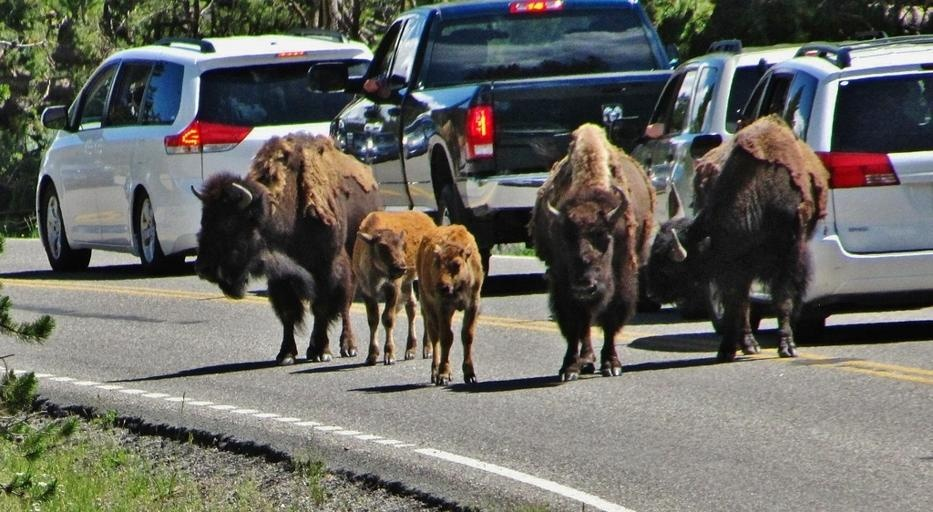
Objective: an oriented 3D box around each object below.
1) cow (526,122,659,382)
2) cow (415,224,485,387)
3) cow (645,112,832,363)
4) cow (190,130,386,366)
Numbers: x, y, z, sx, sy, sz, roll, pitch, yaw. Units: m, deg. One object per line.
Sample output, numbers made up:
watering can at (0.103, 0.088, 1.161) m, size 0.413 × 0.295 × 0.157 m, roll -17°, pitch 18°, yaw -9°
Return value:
cow at (1.500, -0.052, 17.542) m, size 1.164 × 2.930 × 1.490 m, roll 7°, pitch 17°, yaw 31°
cow at (-0.204, 0.594, 17.463) m, size 0.666 × 1.825 × 0.818 m, roll -14°, pitch 18°, yaw -37°
cow at (3.397, -0.175, 17.864) m, size 1.984 × 2.836 × 0.752 m, roll 1°, pitch 15°, yaw 13°
cow at (-2.178, -0.052, 18.478) m, size 2.499 × 2.816 × 0.953 m, roll -14°, pitch 19°, yaw -37°
